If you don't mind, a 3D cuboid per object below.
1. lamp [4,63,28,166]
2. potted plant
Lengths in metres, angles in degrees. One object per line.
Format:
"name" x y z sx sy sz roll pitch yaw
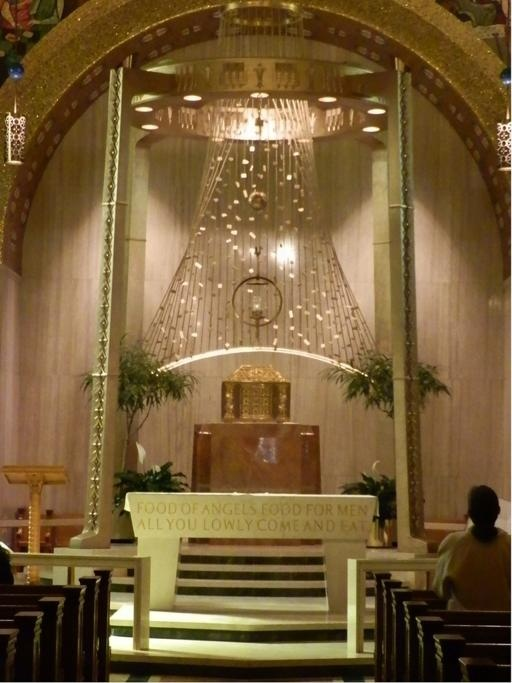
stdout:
"lamp" -2.186 -1.985 9.349 0.192 1.099 0.851 3 -12 -13
"potted plant" 1.183 1.640 10.080 0.526 0.683 0.560 7 -4 -31
